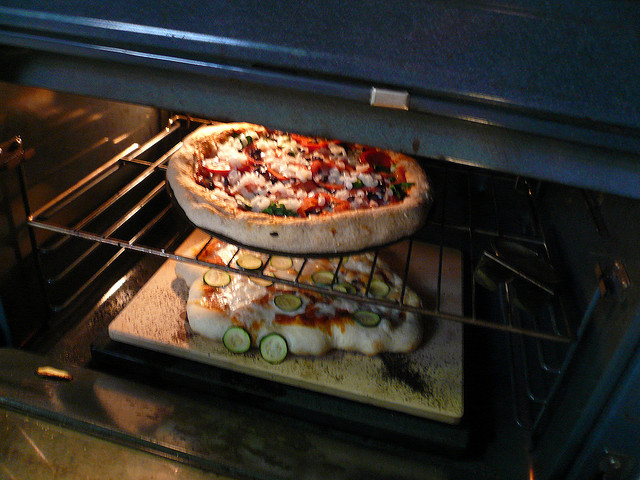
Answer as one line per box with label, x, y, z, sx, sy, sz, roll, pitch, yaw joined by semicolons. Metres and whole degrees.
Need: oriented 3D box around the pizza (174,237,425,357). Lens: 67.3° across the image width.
pizza;-0.047;0.167;1.207;0.442;0.052;0.371;9;42;6
